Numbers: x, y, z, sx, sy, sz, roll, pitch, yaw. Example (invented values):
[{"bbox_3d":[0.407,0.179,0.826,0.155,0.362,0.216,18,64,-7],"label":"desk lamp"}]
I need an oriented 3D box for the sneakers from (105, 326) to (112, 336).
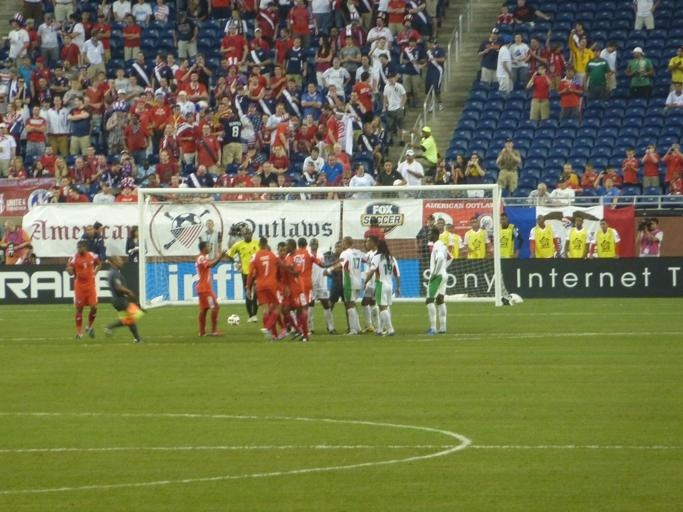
[{"bbox_3d":[-5.966,1.965,45.608,0.171,0.187,0.204,-2,-9,8],"label":"sneakers"}]

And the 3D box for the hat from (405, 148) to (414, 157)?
[{"bbox_3d":[2.065,-2.948,52.401,0.179,0.138,0.239,-17,4,12],"label":"hat"}]

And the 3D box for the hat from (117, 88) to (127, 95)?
[{"bbox_3d":[-7.007,-5.131,56.732,0.313,0.162,0.225,11,16,14],"label":"hat"}]

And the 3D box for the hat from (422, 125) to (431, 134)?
[{"bbox_3d":[2.584,-3.687,52.899,0.246,0.164,0.350,7,0,25],"label":"hat"}]
